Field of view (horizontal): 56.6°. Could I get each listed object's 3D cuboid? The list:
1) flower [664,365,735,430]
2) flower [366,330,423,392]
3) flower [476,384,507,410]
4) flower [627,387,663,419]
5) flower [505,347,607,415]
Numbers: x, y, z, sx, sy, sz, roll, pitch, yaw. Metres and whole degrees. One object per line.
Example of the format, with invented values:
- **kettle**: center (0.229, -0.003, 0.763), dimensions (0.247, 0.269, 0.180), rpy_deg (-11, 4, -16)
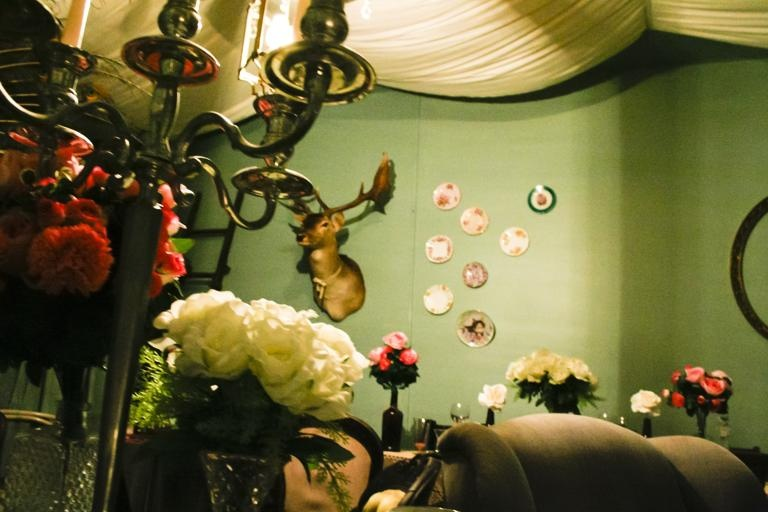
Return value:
- **flower**: center (1.944, 0.908, 4.445), dimensions (0.380, 0.423, 0.233), rpy_deg (-2, -9, 33)
- **flower**: center (0.071, 0.687, 4.622), dimensions (0.400, 0.391, 0.394), rpy_deg (4, -15, -4)
- **flower**: center (0.742, 0.960, 4.863), dimensions (0.170, 0.172, 0.221), rpy_deg (1, -8, 21)
- **flower**: center (1.696, 0.965, 4.650), dimensions (0.158, 0.165, 0.265), rpy_deg (2, -8, 14)
- **flower**: center (1.021, 0.762, 4.313), dimensions (0.462, 0.389, 0.458), rpy_deg (7, -12, 4)
